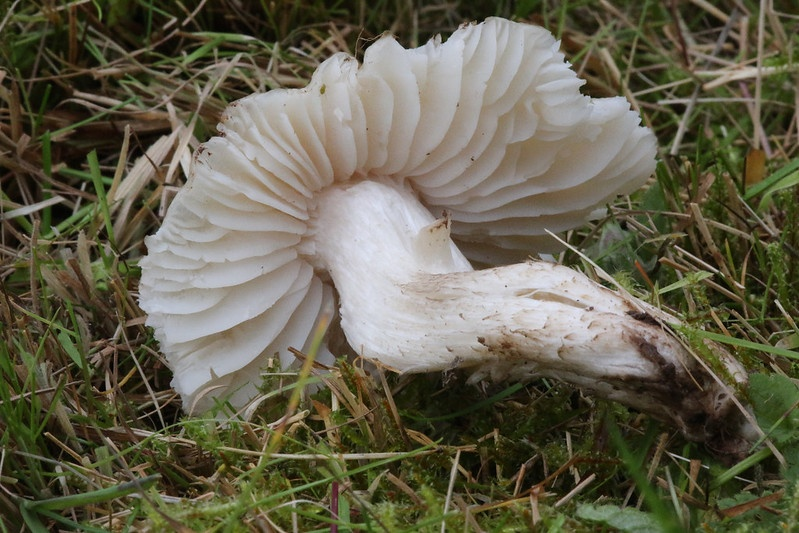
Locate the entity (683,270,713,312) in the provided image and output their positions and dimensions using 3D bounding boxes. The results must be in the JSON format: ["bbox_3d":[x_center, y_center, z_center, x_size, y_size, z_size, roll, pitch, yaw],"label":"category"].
[{"bbox_3d":[1.096,0.094,2.913,0.107,0.131,0.099,-27,96,19],"label":"entity"}]

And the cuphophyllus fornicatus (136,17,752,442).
[{"bbox_3d":[0.187,-0.147,3.299,1.446,1.794,1.887,1,73,8],"label":"cuphophyllus fornicatus"}]
